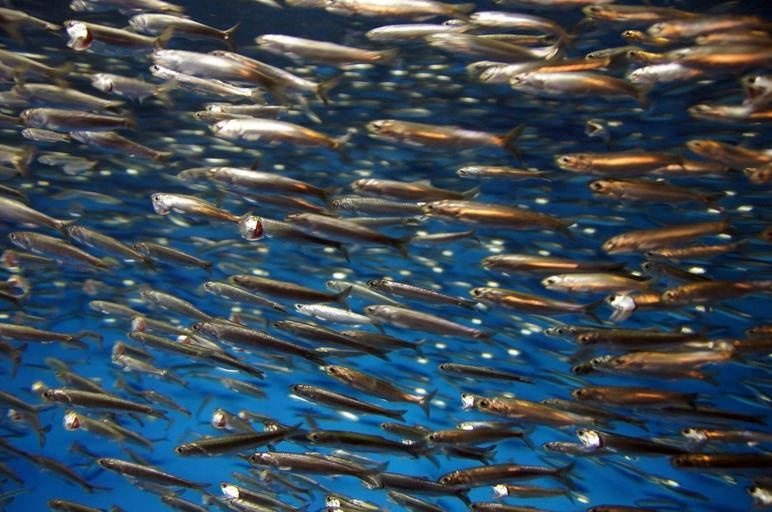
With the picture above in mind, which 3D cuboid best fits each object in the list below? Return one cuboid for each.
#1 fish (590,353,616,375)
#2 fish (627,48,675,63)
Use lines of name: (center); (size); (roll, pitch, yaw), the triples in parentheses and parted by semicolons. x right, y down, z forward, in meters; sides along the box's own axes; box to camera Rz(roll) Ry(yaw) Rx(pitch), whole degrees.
fish: (3.929, 1.965, 14.122); (0.171, 0.368, 0.459); (-4, 16, -39)
fish: (4.433, -3.377, 13.145); (0.793, 0.220, 0.306); (5, 11, 14)
